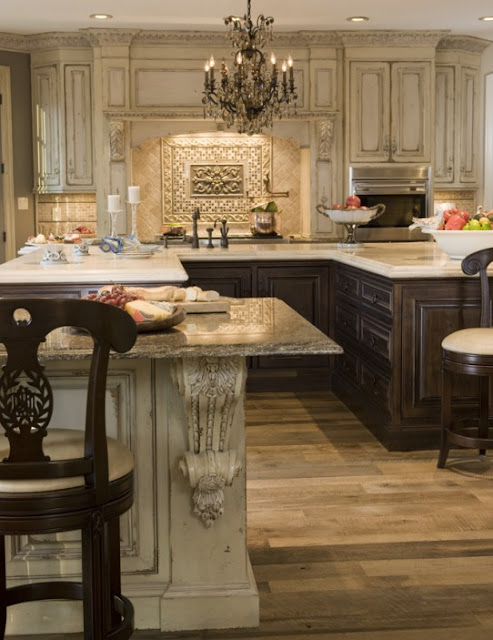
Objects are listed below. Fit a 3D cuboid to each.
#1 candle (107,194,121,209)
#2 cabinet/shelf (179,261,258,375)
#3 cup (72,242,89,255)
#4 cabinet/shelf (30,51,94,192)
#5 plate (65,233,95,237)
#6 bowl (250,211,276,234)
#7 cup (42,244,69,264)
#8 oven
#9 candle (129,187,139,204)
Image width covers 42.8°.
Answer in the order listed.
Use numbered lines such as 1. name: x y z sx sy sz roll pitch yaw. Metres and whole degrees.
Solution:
1. candle: -0.857 -0.744 4.042 0.060 0.102 0.099 0 6 -3
2. cabinet/shelf: -0.175 -0.087 4.199 0.836 0.613 0.181 0 -6 0
3. cup: -1.020 -0.437 3.841 0.091 0.058 0.091 -1 5 0
4. cabinet/shelf: -1.778 -1.841 6.065 0.635 1.200 0.164 2 7 19
5. plate: -1.348 -0.686 5.073 0.151 0.018 0.155 1 4 -4
6. bowl: 0.176 -0.981 6.330 0.266 0.237 0.258 0 12 0
7. cup: -1.031 -0.342 3.375 0.166 0.085 0.151 0 5 -3
8. oven: 1.348 -1.115 6.324 0.891 0.714 0.540 -4 5 -15
9. candle: -0.741 -0.817 4.139 0.063 0.110 0.162 0 6 -6
